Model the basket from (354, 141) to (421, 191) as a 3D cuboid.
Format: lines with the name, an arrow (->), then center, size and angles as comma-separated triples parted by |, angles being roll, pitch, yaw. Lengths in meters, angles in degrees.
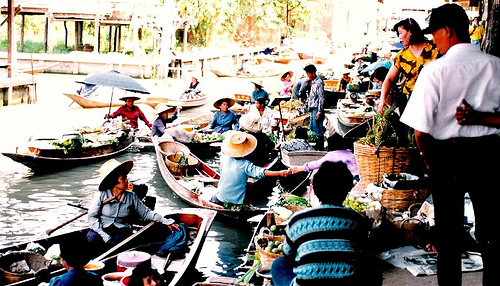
basket -> 2.590, 0.402, 8.616 | 0.934, 0.644, 1.017 | 3, -4, -42

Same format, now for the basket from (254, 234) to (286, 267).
basket -> 0.331, 1.647, 7.402 | 0.480, 0.342, 0.471 | -11, 18, -31

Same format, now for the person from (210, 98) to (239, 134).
person -> -0.829, -0.859, 15.528 | 1.392, 1.569, 1.065 | 0, 1, -1

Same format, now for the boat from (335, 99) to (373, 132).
boat -> 3.514, -1.130, 15.317 | 1.120, 0.320, 1.972 | 2, 18, 12

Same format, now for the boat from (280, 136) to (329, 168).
boat -> 1.302, 0.235, 11.836 | 0.978, 0.504, 1.437 | -2, 8, -6

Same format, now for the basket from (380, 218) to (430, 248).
basket -> 2.606, 1.470, 7.662 | 0.485, 0.255, 0.609 | 0, -4, 3

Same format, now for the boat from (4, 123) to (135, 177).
boat -> -4.930, 0.249, 13.321 | 1.000, 0.685, 3.287 | 15, 21, 28

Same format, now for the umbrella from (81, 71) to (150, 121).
umbrella -> -4.419, -1.794, 15.075 | 1.940, 1.208, 1.749 | 8, 11, -11

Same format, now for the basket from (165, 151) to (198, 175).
basket -> -1.812, 0.534, 12.216 | 0.671, 0.296, 0.689 | 13, 17, -6

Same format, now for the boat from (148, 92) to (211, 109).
boat -> -3.136, -1.824, 20.555 | 3.720, 0.563, 0.948 | -4, 15, -38
